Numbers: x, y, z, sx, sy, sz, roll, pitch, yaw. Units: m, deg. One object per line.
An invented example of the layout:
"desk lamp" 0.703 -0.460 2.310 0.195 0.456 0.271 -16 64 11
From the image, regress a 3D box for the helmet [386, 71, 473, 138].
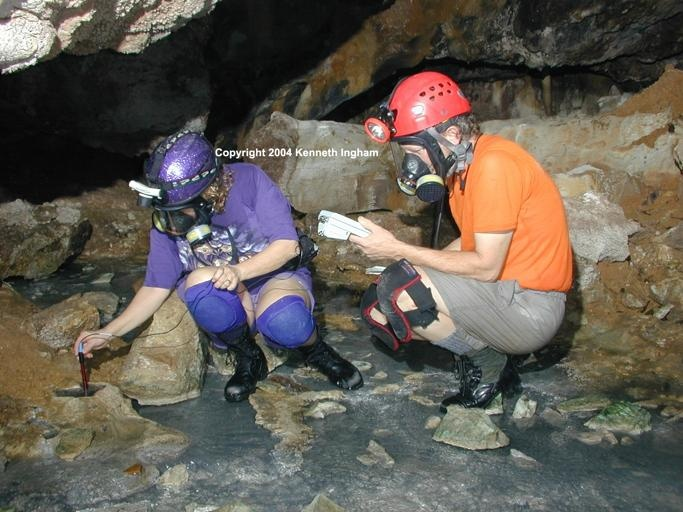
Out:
"helmet" 0.466 -0.877 3.477 0.525 0.274 0.346 -18 16 -2

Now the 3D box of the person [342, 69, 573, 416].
"person" 0.733 -0.094 3.444 1.182 1.952 0.556 -1 16 17

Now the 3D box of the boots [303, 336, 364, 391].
"boots" -0.061 0.716 3.795 0.387 0.127 0.227 27 -10 23
